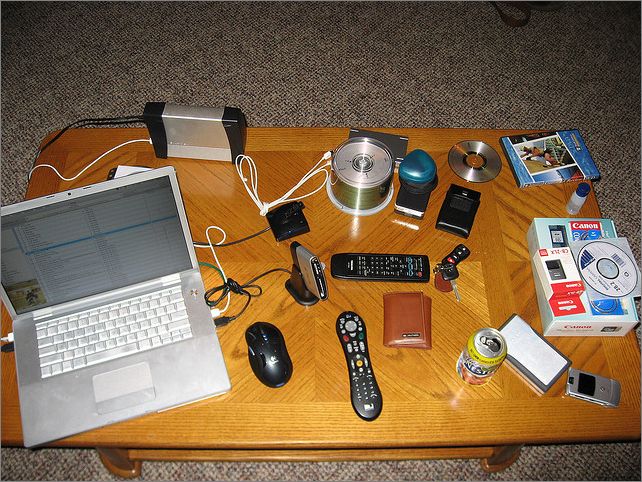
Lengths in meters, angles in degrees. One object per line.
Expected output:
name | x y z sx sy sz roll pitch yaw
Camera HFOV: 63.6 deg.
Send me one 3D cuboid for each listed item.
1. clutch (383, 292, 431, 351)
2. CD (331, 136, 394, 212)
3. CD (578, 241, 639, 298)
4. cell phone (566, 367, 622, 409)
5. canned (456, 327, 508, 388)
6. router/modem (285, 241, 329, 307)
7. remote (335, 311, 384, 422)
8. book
clutch | 0.237 0.226 1.448 0.156 0.044 0.141 -1 68 0
CD | 0.083 -0.207 1.636 0.231 0.212 0.260 -3 45 -8
CD | 0.816 0.081 1.474 0.160 0.068 0.151 1 47 -3
cell phone | 0.737 0.404 1.410 0.117 0.044 0.093 9 37 13
canned | 0.416 0.322 1.384 0.085 0.141 0.083 -19 40 -35
router/modem | -0.042 0.091 1.439 0.119 0.217 0.155 -1 49 -5
remote | 0.107 0.337 1.401 0.099 0.041 0.277 -8 59 -6
book | 0.758 -0.268 1.714 0.297 0.034 0.212 -7 77 -3
